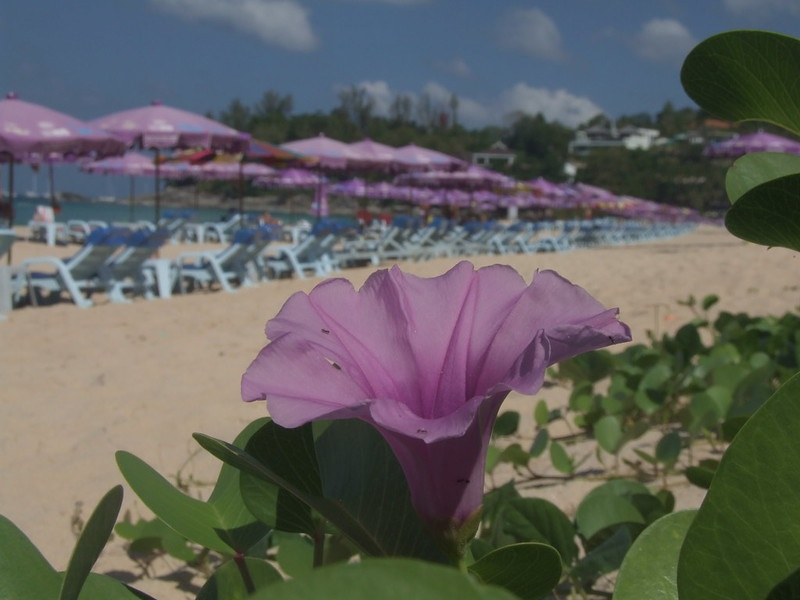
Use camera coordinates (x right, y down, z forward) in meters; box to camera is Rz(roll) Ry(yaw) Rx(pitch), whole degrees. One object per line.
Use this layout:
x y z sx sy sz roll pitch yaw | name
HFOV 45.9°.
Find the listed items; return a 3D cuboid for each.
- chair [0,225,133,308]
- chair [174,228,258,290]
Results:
-3.316 -0.305 9.451 0.969 0.777 0.778 3 2 -1 | chair
-2.174 -0.436 11.003 0.939 0.743 0.732 -2 0 -10 | chair
